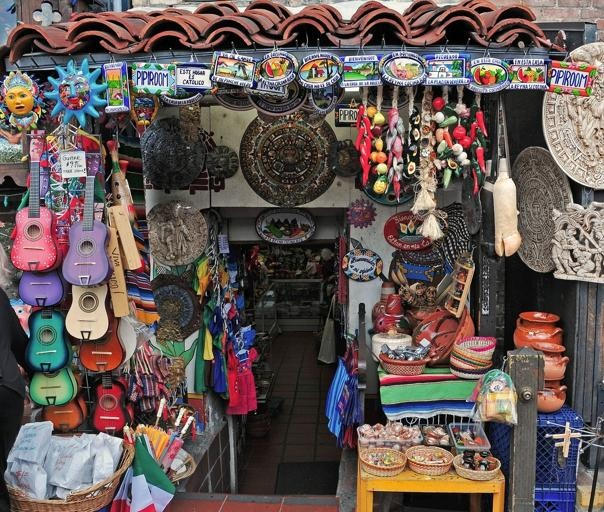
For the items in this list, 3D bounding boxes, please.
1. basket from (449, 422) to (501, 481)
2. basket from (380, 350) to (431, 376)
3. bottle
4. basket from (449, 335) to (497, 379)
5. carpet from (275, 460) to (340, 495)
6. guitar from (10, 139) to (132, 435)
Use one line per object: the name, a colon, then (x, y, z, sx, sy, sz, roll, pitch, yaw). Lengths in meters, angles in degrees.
basket: (1.204, 1.381, 4.798, 0.341, 0.159, 0.845, 0, 5, 7)
basket: (0.800, 0.856, 5.392, 0.376, 0.134, 0.217, -1, 9, 12)
bottle: (1.761, 0.706, 4.996, 0.323, 0.802, 0.400, -1, 12, -10)
basket: (1.302, 0.780, 5.238, 0.330, 0.309, 0.207, -1, 9, 12)
carpet: (0.058, 2.456, 7.603, 0.687, 0.038, 0.790, -2, 10, 4)
guitar: (-1.492, 0.207, 4.636, 0.570, 2.112, 0.459, 0, 14, -1)
